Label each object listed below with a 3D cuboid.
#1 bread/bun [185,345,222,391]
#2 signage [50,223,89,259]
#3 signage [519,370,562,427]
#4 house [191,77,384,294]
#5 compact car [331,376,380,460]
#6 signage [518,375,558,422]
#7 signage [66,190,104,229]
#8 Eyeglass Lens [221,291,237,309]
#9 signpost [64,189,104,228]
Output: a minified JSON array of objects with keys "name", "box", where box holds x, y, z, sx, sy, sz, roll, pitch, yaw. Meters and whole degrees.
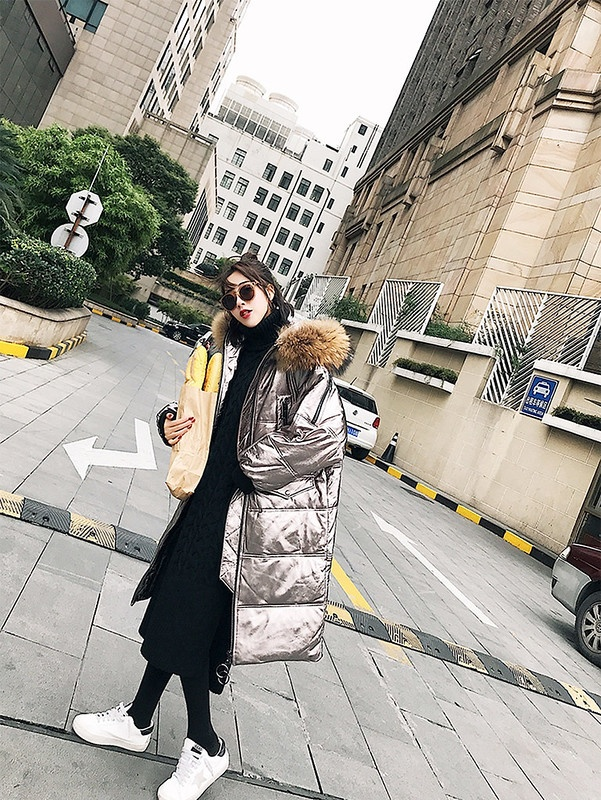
[{"name":"bread/bun","box":[-0.337,-0.102,1.652,0.043,0.140,0.135,-5,-20,32]},{"name":"signage","box":[-5.384,-3.773,11.597,0.848,0.883,0.223,17,10,7]},{"name":"signage","box":[6.077,0.008,12.559,0.151,1.557,1.045,18,8,-30]},{"name":"house","box":[-6.127,-34.050,88.519,24.626,34.029,17.652,19,-10,-4]},{"name":"compact car","box":[1.753,0.575,16.059,1.823,2.951,1.850,0,7,-9]},{"name":"signage","box":[6.049,0.001,12.619,0.123,1.284,0.876,19,7,-30]},{"name":"signage","box":[-5.007,-4.514,11.663,0.830,0.834,0.200,11,19,-9]},{"name":"Eyeglass Lens","box":[-0.243,-0.336,1.670,0.050,0.023,0.051,7,-5,33]},{"name":"signpost","box":[-5.013,-4.502,11.614,0.844,0.848,0.205,9,19,-10]}]
